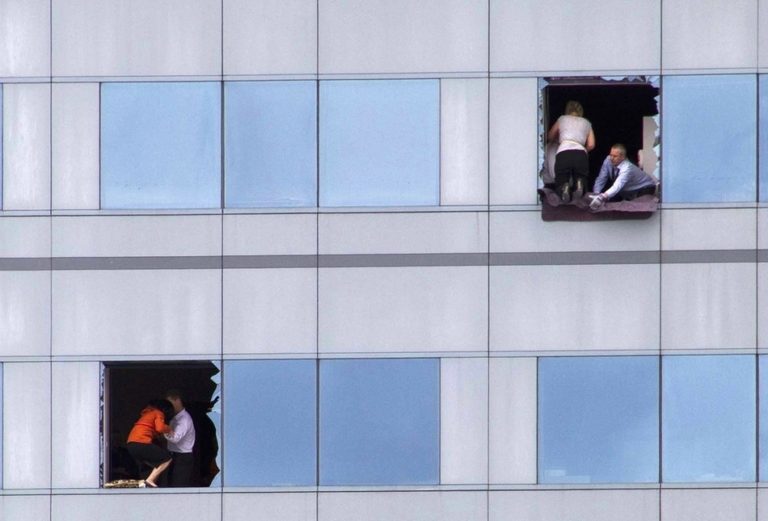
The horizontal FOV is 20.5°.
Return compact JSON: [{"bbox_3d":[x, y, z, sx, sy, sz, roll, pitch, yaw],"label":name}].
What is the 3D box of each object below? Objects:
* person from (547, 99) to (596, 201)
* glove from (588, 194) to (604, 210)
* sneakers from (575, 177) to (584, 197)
[{"bbox_3d":[3.961,-2.251,45.061,0.948,2.168,0.323,1,-13,4],"label":"person"},{"bbox_3d":[4.481,-1.185,44.898,0.226,0.341,0.111,1,-53,5],"label":"glove"},{"bbox_3d":[4.144,-1.485,44.885,0.184,0.378,0.074,4,-13,-10],"label":"sneakers"}]
